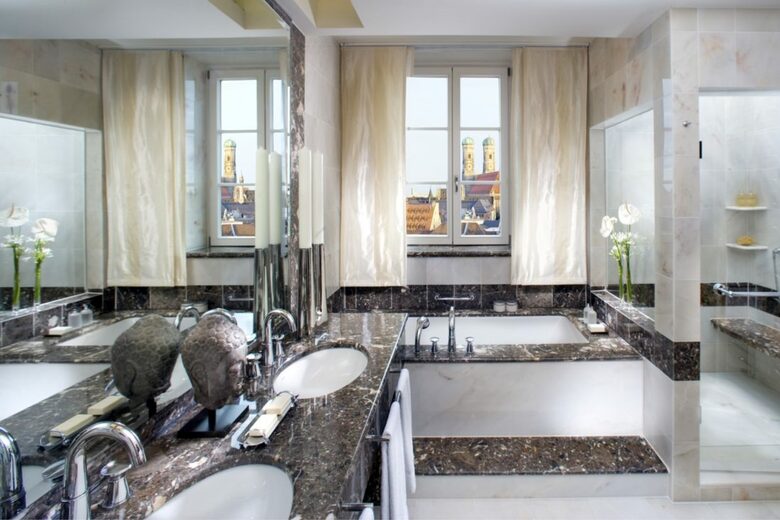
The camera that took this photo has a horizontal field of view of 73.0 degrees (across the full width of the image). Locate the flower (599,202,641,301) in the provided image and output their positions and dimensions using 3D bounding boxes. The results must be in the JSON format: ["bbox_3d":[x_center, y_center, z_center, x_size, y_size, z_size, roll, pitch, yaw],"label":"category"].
[{"bbox_3d":[1.664,-0.049,3.811,0.110,0.693,0.394,-2,6,-4],"label":"flower"}]
